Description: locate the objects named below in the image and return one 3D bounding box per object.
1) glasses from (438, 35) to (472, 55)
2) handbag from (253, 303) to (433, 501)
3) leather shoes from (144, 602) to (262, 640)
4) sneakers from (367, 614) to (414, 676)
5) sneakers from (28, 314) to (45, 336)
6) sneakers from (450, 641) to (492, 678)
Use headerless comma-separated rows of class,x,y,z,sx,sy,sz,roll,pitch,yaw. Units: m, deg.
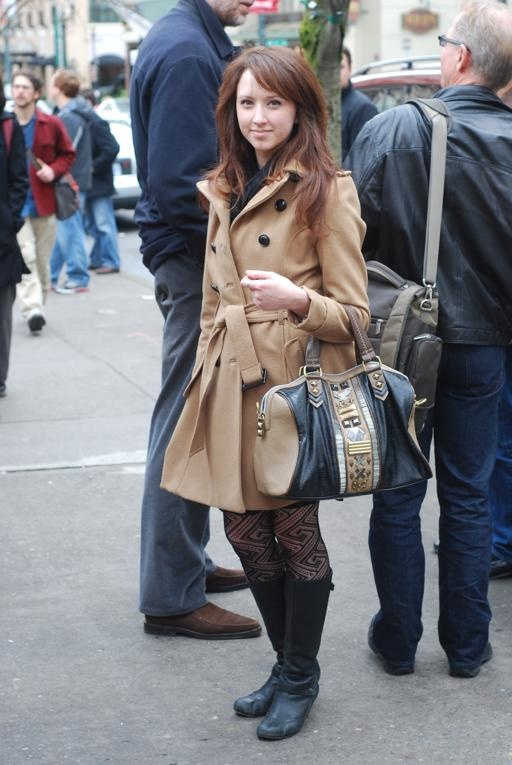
glasses,0.557,-0.963,2.843,0.091,0.024,0.088,10,30,-2
handbag,0.195,0.046,2.403,0.496,0.504,0.211,-7,8,-27
leather shoes,-0.167,0.757,3.288,0.382,0.151,0.134,-1,1,0
sneakers,0.403,0.817,3.018,0.080,0.096,0.223,-7,45,2
sneakers,-1.793,-0.478,8.208,0.090,0.231,0.099,-4,37,-19
sneakers,0.654,0.842,3.029,0.060,0.070,0.164,6,19,33
